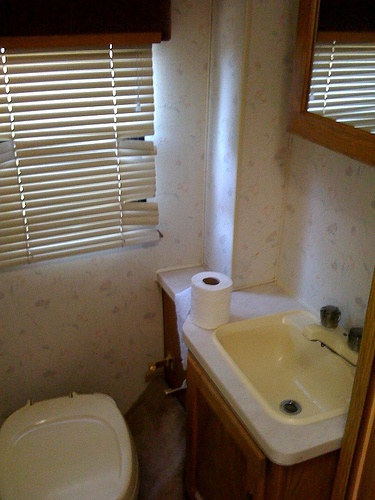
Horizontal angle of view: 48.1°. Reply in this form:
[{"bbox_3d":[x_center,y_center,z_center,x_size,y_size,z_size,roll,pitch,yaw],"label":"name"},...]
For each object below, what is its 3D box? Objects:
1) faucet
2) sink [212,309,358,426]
[{"bbox_3d":[0.397,0.258,1.161,0.055,0.054,0.168,-16,25,-39],"label":"faucet"},{"bbox_3d":[0.273,0.336,1.184,0.212,0.109,0.287,-11,30,-15],"label":"sink"}]
